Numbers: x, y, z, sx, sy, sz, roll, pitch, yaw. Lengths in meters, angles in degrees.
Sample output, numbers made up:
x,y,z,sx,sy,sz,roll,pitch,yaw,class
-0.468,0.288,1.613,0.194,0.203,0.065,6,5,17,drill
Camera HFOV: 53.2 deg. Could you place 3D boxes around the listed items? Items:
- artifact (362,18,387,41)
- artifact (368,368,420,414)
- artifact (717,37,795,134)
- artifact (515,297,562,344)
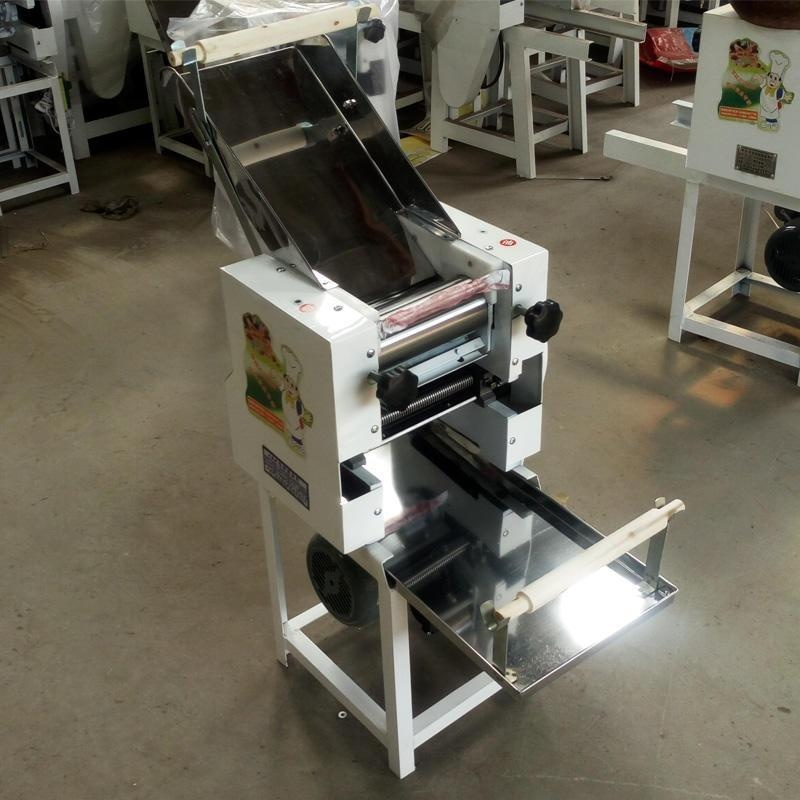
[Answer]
x,y,z,sx,sy,sz,roll,pitch,yaw,class
-0.054,-0.741,1.614,0.037,0.046,0.021,1,58,-13,artifact
-0.019,-0.016,1.225,0.071,0.076,0.059,25,39,38,artifact
1.143,-0.994,2.556,0.211,0.255,0.118,29,52,35,artifact
0.244,-0.144,1.395,0.065,0.058,0.088,-37,45,-27,artifact
